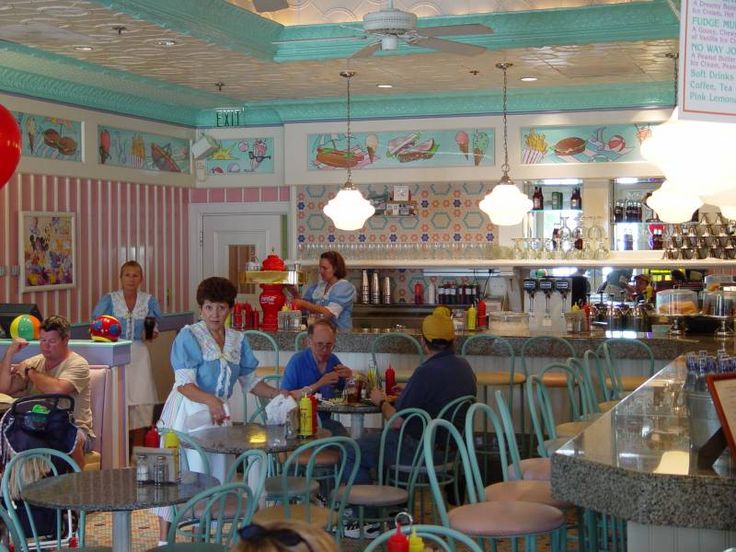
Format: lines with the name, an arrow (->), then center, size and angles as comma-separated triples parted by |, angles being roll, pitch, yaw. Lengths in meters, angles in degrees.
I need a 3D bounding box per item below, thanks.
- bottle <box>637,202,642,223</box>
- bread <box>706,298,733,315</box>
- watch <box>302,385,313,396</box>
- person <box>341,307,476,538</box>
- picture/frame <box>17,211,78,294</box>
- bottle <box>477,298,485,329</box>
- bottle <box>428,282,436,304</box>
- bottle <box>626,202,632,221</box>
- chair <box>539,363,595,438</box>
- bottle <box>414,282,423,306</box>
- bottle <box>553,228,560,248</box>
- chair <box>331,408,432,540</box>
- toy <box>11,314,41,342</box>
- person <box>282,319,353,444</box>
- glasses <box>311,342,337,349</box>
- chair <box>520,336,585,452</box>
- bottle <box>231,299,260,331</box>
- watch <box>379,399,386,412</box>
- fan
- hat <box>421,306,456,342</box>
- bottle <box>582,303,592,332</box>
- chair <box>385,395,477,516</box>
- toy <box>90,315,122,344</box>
bottle -> 3.238, -0.755, 8.871 | 0.036, 0.178, 0.087 | -4, -2, 41
bread -> 3.240, 0.278, 6.843 | 0.162, 0.117, 0.161 | 1, 1, 16
watch -> -0.391, 0.744, 4.836 | 0.072, 0.034, 0.073 | 0, 0, -9
person -> 0.391, 0.958, 5.474 | 0.978, 1.670, 0.998 | -9, 18, -13
picture/frame -> -3.353, -0.269, 7.771 | 0.040, 0.805, 0.784 | 2, 2, 21
bottle -> 1.140, 0.389, 7.463 | 0.092, 0.192, 0.134 | -3, -2, 8
bottle -> 0.818, 0.233, 9.676 | 0.093, 0.285, 0.162 | -3, -2, 9
bottle -> 3.120, -0.765, 8.891 | 0.086, 0.187, 0.046 | -3, -2, 24
chair -> 1.600, 0.963, 6.291 | 0.386, 0.543, 0.399 | -10, 10, 8
bottle -> 0.662, 0.226, 9.766 | 0.130, 0.269, 0.098 | -3, -2, -1
bottle -> 2.249, -0.437, 8.875 | 0.111, 0.179, 0.180 | -3, -2, 12
chair -> 0.046, 1.267, 4.544 | 0.522, 0.819, 0.428 | 2, -5, -26
toy -> -2.792, 0.427, 6.181 | 0.287, 0.283, 0.288 | 0, -3, -14
person -> -0.364, 0.775, 5.279 | 0.585, 0.888, 0.521 | 0, 8, -18
glasses -> -0.319, 0.490, 5.219 | 0.156, 0.059, 0.111 | -2, -2, -13
chair -> 1.408, 0.981, 6.282 | 0.453, 0.844, 0.452 | 24, -21, -40
bottle -> -1.344, 0.436, 8.156 | 0.301, 0.381, 0.297 | -1, -7, 0
watch -> 0.093, 0.878, 5.033 | 0.031, 0.054, 0.048 | 2, -3, -12
fan -> 0.126, -1.898, 5.943 | 1.308, 0.347, 1.253 | 1, -5, -5
hat -> 0.491, 0.318, 5.204 | 0.243, 0.229, 0.351 | 8, 15, 0
bottle -> 2.149, 0.414, 7.293 | 0.090, 0.211, 0.377 | -3, -2, 16
chair -> 0.351, 1.314, 5.037 | 0.671, 0.842, 0.699 | -2, -9, -4
toy -> -2.154, 0.451, 6.132 | 0.200, 0.179, 0.224 | 3, 2, 16
